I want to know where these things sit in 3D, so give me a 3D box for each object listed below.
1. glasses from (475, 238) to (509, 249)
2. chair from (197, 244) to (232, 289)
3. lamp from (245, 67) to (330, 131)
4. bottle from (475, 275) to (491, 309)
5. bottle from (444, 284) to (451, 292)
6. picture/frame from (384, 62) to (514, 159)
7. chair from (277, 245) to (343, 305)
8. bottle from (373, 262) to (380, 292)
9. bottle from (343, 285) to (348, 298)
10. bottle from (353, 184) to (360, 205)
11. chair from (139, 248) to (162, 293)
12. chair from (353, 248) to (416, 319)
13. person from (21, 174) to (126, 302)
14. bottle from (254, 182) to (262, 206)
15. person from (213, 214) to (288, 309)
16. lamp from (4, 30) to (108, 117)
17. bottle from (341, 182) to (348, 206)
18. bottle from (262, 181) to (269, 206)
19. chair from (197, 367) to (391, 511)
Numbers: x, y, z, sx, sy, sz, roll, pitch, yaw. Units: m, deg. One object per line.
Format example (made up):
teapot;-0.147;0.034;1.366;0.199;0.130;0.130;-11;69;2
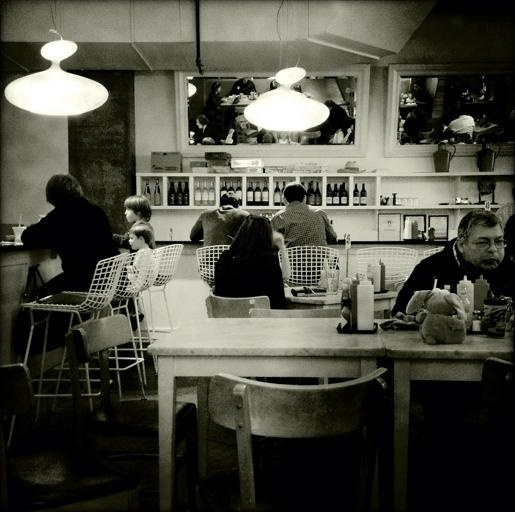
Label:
glasses;1.053;-0.058;2.870;0.146;0.043;0.055;-2;6;-21
chair;-0.362;0.100;5.402;0.292;0.348;0.379;0;-2;-6
lamp;0.240;-1.330;5.221;0.599;0.318;0.662;-9;37;-10
bottle;0.967;0.163;2.740;0.053;0.127;0.114;2;6;25
bottle;0.800;0.135;2.677;0.024;0.033;0.026;1;9;0
picture/frame;1.979;-1.518;6.627;1.254;0.919;0.215;0;5;1
chair;0.388;0.123;4.433;0.356;0.303;0.333;1;-5;6
bottle;0.728;0.141;3.859;0.038;0.161;0.076;2;6;23
bottle;0.361;0.148;2.590;0.024;0.047;0.048;1;5;8
bottle;1.049;-0.657;6.712;0.070;0.223;0.207;1;5;9
chair;-0.805;0.101;4.921;0.228;0.327;0.262;1;-1;-11
chair;1.121;0.232;5.452;0.494;0.707;0.474;0;-3;4
person;-1.312;-0.158;4.679;0.675;1.223;0.644;5;2;13
bottle;0.004;-0.636;6.673;0.065;0.180;0.077;-1;5;-6
person;-0.017;-0.010;3.850;0.430;0.835;0.460;3;6;12
lamp;-1.343;-1.093;4.259;0.533;0.582;0.529;2;0;-35
bottle;0.920;-0.666;6.701;0.080;0.244;0.156;1;5;8
bottle;0.085;-0.664;6.681;0.068;0.244;0.148;0;5;-2
chair;0.118;0.480;2.118;0.478;0.464;0.444;0;7;-6
